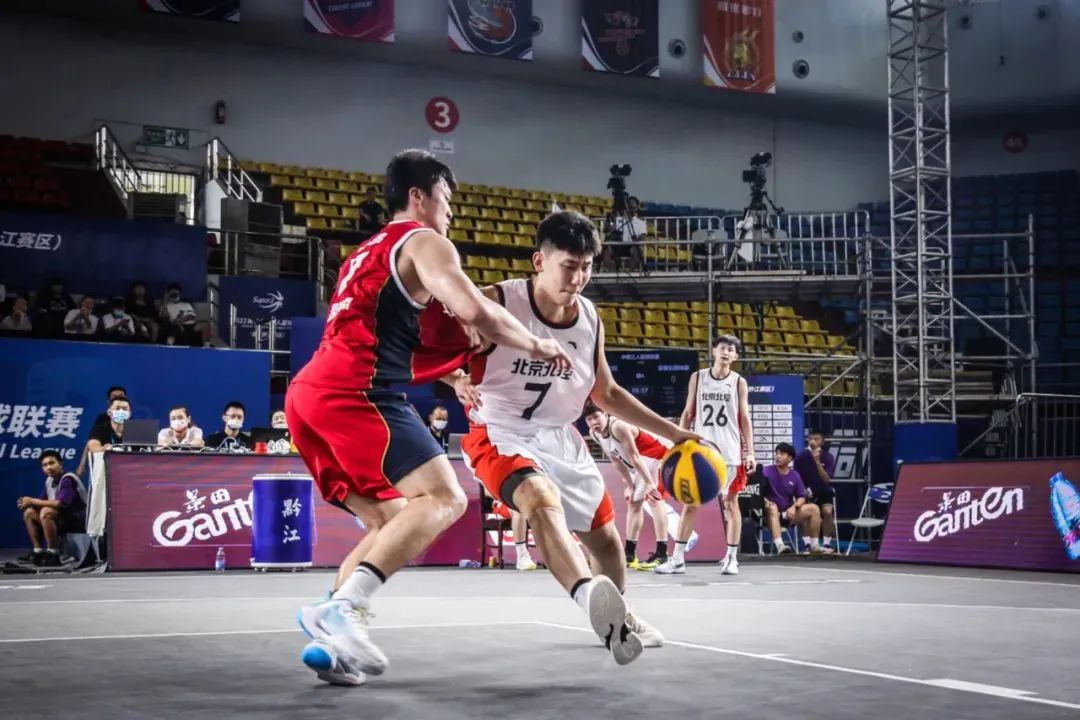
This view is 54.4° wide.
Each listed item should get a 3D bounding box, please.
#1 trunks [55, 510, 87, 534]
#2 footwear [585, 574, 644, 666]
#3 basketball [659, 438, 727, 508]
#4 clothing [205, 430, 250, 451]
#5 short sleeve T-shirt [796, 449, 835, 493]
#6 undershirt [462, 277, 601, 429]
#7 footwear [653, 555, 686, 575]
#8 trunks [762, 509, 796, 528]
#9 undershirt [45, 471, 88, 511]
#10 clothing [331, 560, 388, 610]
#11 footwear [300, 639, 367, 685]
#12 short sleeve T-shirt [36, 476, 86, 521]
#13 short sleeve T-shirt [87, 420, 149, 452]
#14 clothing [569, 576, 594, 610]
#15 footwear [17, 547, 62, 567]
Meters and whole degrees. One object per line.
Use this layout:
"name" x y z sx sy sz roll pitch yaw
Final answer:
"trunks" -6.053 2.123 13.689 0.340 0.328 0.290 8 -49 -28
"footwear" 0.476 1.721 7.147 0.261 0.716 0.299 -25 3 -13
"basketball" 1.246 0.847 7.890 0.464 0.534 0.458 -11 -11 38
"clothing" -4.213 1.134 14.500 0.450 0.183 0.314 4 -2 -44
"short sleeve T-shirt" 4.206 1.707 16.193 0.636 0.738 0.393 -4 -10 -23
"undershirt" -0.067 -0.051 7.611 0.902 1.219 0.650 10 -3 -33
"footwear" 1.587 2.580 13.216 0.453 0.230 0.184 0 -4 -8
"trunks" 3.548 2.364 15.684 0.337 0.147 0.349 6 -4 8
"undershirt" -6.180 1.719 13.860 0.443 0.495 0.643 6 -10 -38
"clothing" -1.164 1.474 7.035 0.233 0.177 0.540 34 2 -13
"footwear" -1.357 2.041 6.954 0.375 0.159 0.270 38 -38 -18
"short sleeve T-shirt" -6.226 1.749 13.970 0.526 0.762 0.761 -2 -9 -42
"short sleeve T-shirt" -5.426 0.982 13.829 0.602 0.414 0.639 1 -11 -33
"clothing" 0.288 1.588 7.197 0.176 0.141 0.176 -41 8 -21
"footwear" -6.453 2.553 13.584 0.654 0.268 0.241 2 -6 10
